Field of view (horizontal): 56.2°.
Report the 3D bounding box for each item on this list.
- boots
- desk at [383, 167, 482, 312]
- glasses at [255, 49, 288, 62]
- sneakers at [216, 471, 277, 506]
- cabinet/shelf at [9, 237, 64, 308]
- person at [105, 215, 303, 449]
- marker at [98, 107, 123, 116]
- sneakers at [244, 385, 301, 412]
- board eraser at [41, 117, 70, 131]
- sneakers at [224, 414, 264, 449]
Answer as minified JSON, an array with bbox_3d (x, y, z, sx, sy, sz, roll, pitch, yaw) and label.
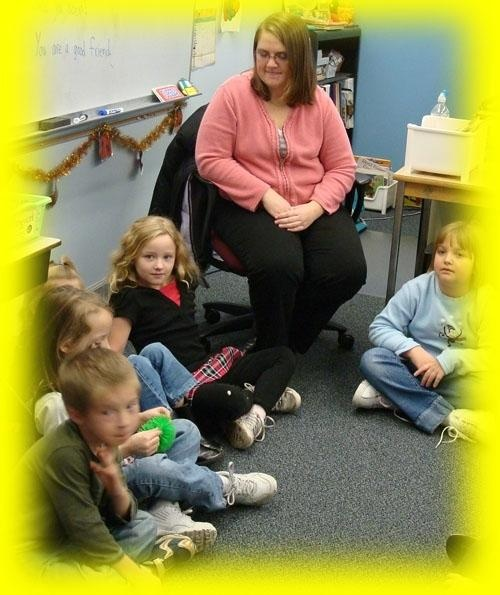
[{"bbox_3d":[-0.136,0.345,1.185,0.130,0.120,0.061,29,64,12],"label":"boots"},{"bbox_3d":[0.859,-0.317,1.990,0.403,0.428,0.517,-3,15,29],"label":"desk"},{"bbox_3d":[0.080,-0.791,1.547,0.052,0.024,0.066,0,4,-37],"label":"glasses"},{"bbox_3d":[-0.007,0.439,1.074,0.168,0.064,0.067,-4,-13,-6],"label":"sneakers"},{"bbox_3d":[-0.501,-0.073,1.151,0.136,0.115,0.163,-13,45,-36],"label":"cabinet/shelf"},{"bbox_3d":[-0.181,0.024,1.702,0.753,0.815,0.579,3,16,21],"label":"person"},{"bbox_3d":[-0.544,-0.733,1.829,0.030,0.031,0.125,12,27,35],"label":"marker"},{"bbox_3d":[0.060,0.313,1.465,0.231,0.072,0.094,0,-5,10],"label":"sneakers"},{"bbox_3d":[-0.662,-0.589,1.587,0.056,0.041,0.109,1,20,13],"label":"board eraser"},{"bbox_3d":[-0.021,0.380,1.355,0.066,0.057,0.148,-30,7,-18],"label":"sneakers"}]
